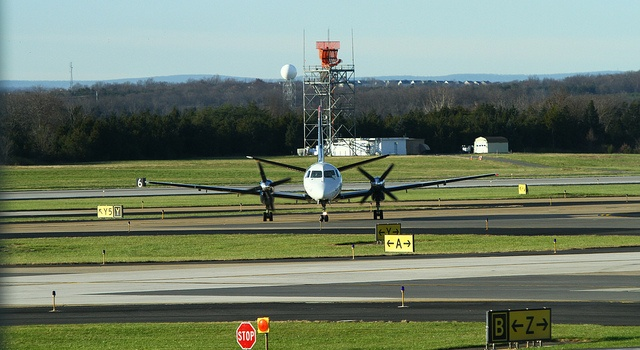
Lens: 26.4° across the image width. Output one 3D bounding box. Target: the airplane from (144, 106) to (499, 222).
[{"bbox_3d":[0.521,-1.846,335.099,59.807,26.371,12.806,0,14,5],"label":"airplane"}]
